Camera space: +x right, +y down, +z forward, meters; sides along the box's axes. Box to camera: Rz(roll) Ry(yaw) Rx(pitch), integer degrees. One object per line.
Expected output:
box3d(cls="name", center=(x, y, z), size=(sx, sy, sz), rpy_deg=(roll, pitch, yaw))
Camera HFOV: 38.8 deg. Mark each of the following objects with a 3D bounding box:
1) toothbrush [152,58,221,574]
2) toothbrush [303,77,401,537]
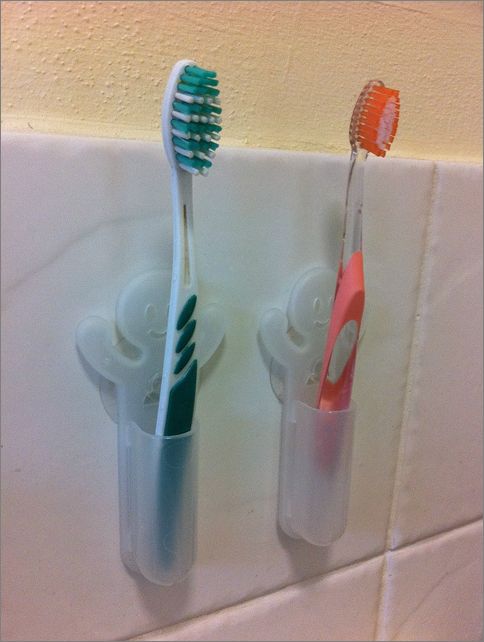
box3d(cls="toothbrush", center=(-0.035, -0.031, 0.425), size=(0.035, 0.172, 0.076), rpy_deg=(2, 1, -4))
box3d(cls="toothbrush", center=(0.074, 0.002, 0.511), size=(0.060, 0.252, 0.103), rpy_deg=(3, 1, 4))
